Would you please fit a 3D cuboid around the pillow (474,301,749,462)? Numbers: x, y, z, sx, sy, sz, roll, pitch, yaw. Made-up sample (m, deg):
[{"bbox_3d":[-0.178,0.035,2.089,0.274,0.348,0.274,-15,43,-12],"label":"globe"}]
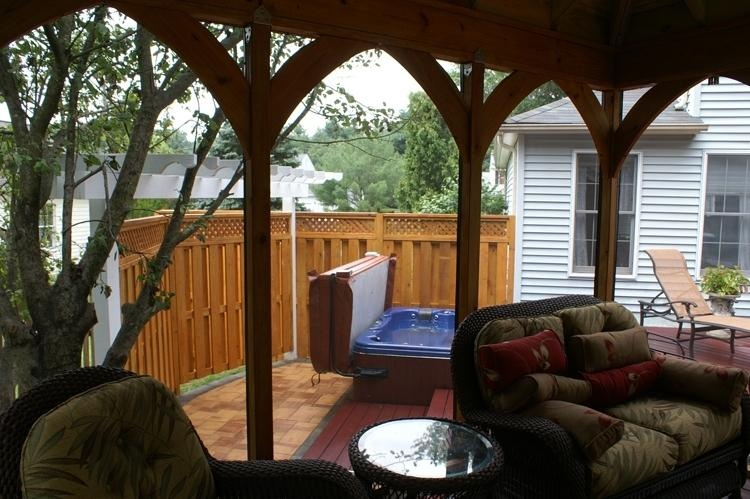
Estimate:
[{"bbox_3d":[1.606,0.894,4.224,1.752,0.831,1.034,-2,3,-34],"label":"pillow"}]
